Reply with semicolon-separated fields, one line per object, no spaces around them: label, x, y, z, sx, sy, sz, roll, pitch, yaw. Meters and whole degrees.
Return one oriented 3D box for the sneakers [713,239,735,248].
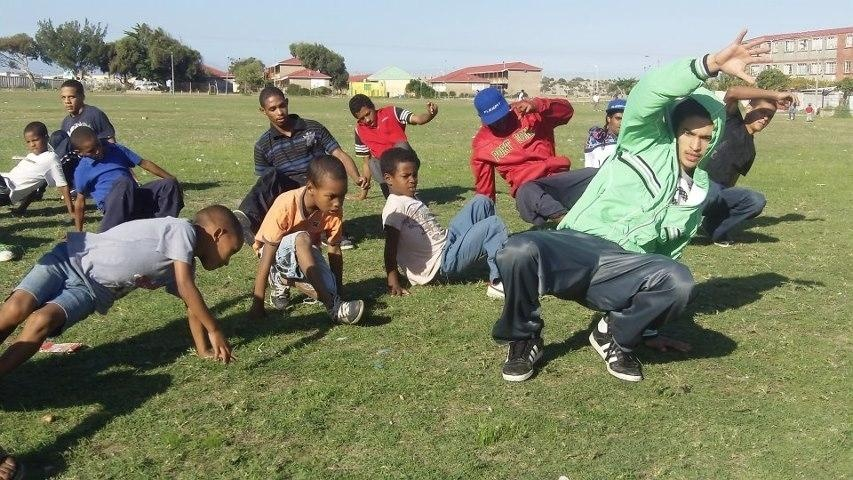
sneakers;4.498;0.052;9.568;0.120;0.110;0.275;4;0;8

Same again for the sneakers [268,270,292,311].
sneakers;-1.693;0.585;7.450;0.268;0.497;0.203;-5;11;25

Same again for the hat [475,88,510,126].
hat;0.901;-1.956;9.010;0.459;0.292;0.569;-27;29;9

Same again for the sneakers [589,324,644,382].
sneakers;1.873;1.143;6.382;0.259;0.253;0.653;-29;30;-4
